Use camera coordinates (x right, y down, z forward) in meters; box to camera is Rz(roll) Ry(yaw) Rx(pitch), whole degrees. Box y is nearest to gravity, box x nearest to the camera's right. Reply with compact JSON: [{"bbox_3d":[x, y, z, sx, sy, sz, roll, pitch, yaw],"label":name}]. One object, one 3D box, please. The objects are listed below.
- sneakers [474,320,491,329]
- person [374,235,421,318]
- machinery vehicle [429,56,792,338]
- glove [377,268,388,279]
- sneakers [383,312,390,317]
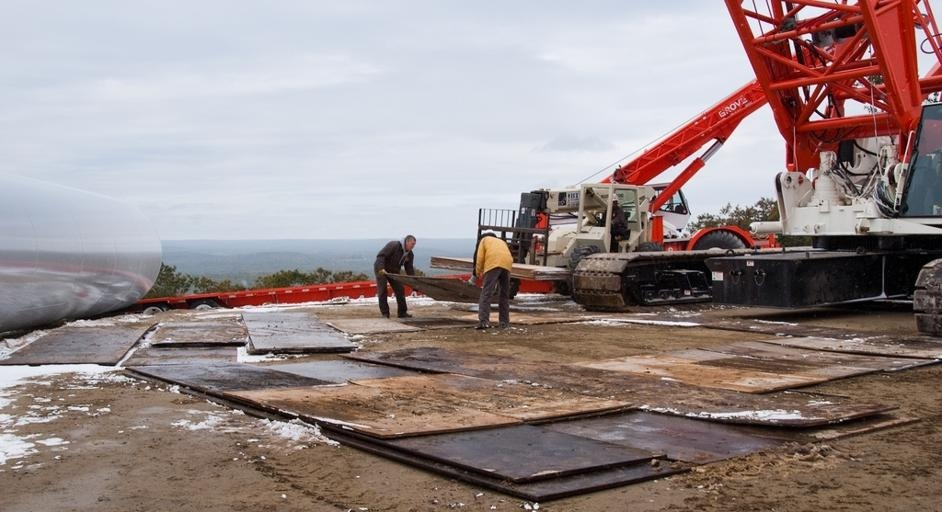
[{"bbox_3d":[0.278,1.570,12.075,0.160,0.133,0.352,4,-2,-20],"label":"sneakers"},{"bbox_3d":[-1.967,0.550,13.462,1.066,2.146,1.272,-2,8,-8],"label":"person"},{"bbox_3d":[4.686,-2.425,17.765,16.780,7.457,5.139,-9,34,-33],"label":"machinery vehicle"},{"bbox_3d":[-2.199,0.429,13.102,0.241,0.091,0.291,5,-15,-17],"label":"glove"},{"bbox_3d":[-2.205,1.510,13.638,0.259,0.110,0.170,4,4,-3],"label":"sneakers"}]
